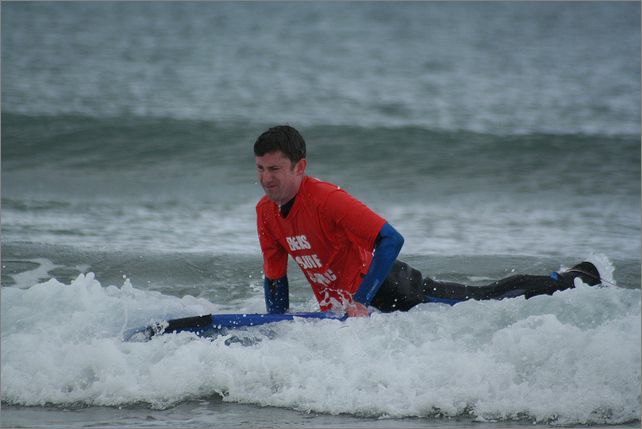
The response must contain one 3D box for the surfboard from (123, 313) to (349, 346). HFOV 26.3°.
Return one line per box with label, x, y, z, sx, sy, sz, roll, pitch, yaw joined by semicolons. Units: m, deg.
surfboard;-1.389;2.062;24.594;5.348;0.453;0.506;-1;6;-1
